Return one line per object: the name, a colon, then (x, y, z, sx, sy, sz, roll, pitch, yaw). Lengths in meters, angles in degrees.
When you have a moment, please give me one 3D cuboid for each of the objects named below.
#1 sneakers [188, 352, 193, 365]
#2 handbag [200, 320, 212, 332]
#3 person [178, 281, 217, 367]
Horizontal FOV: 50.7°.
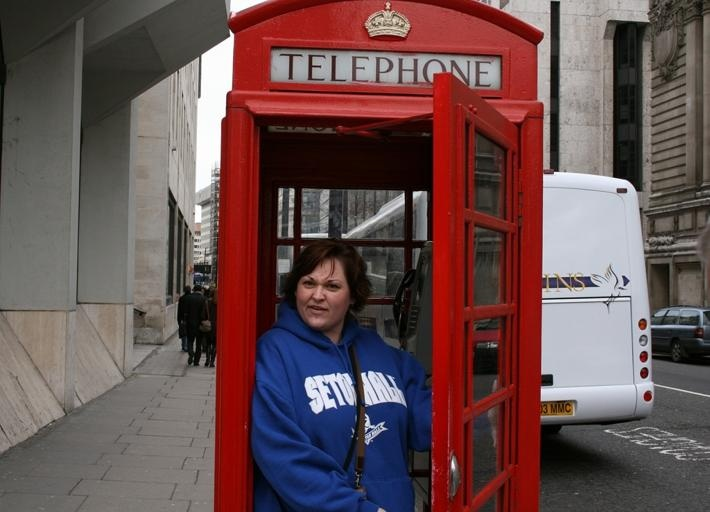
sneakers: (-3.737, 2.307, 16.998, 0.108, 0.275, 0.391, 1, 0, -13)
handbag: (-3.285, 1.517, 16.590, 0.183, 0.413, 0.274, 3, -3, -16)
person: (-3.555, 1.627, 17.115, 0.743, 1.831, 1.288, 1, 0, -20)
